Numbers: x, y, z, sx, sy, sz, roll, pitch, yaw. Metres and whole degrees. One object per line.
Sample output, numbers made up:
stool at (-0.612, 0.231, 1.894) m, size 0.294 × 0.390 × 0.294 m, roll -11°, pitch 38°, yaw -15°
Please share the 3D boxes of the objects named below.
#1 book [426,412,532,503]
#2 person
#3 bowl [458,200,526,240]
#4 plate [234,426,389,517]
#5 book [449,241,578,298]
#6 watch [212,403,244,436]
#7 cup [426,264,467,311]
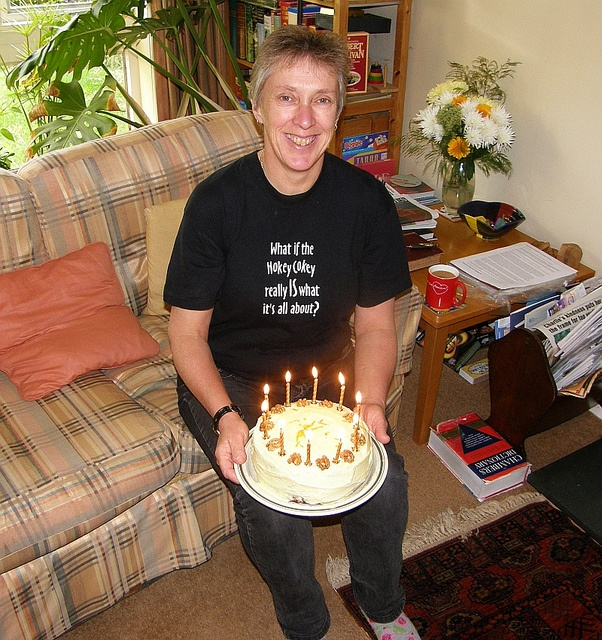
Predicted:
book at (0.650, 0.494, 1.944) m, size 0.239 × 0.090 × 0.307 m, roll -17°, pitch 43°, yaw -24°
person at (-0.059, -0.149, 1.217) m, size 0.603 × 0.922 × 0.662 m, roll 7°, pitch 32°, yaw 10°
bowl at (0.837, -0.480, 2.296) m, size 0.201 × 0.084 × 0.215 m, roll 1°, pitch 33°, yaw -1°
plate at (0.018, 0.332, 1.091) m, size 0.322 × 0.118 × 0.245 m, roll 3°, pitch 30°, yaw 4°
book at (0.842, -0.206, 2.092) m, size 0.339 × 0.045 × 0.251 m, roll -16°, pitch 39°, yaw -30°
watch at (-0.176, 0.243, 1.256) m, size 0.071 × 0.090 × 0.037 m, roll -15°, pitch 35°, yaw -24°
cup at (0.520, -0.141, 1.979) m, size 0.121 × 0.135 × 0.182 m, roll -18°, pitch 36°, yaw -20°
